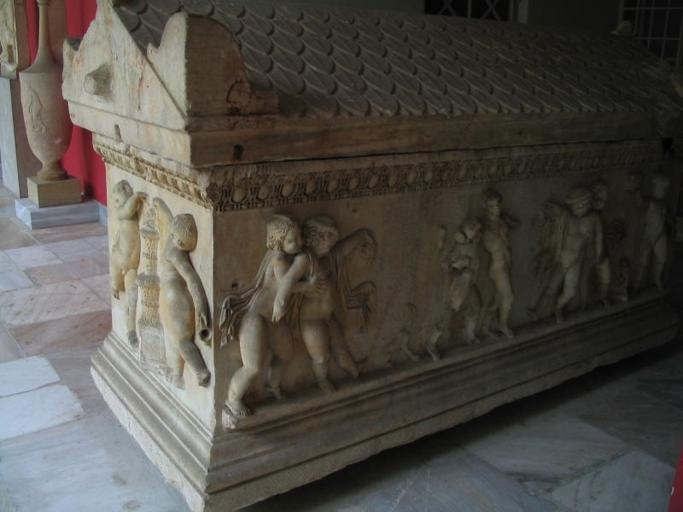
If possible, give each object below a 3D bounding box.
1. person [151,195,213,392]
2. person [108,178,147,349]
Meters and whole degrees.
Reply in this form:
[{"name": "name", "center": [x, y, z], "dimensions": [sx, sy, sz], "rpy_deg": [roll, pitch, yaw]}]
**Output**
[{"name": "person", "center": [-0.690, 0.137, 3.230], "dimensions": [0.215, 0.950, 0.617], "rpy_deg": [-6, 21, -27]}, {"name": "person", "center": [-1.076, 0.035, 3.697], "dimensions": [0.104, 0.821, 0.361], "rpy_deg": [-6, 20, -29]}]
